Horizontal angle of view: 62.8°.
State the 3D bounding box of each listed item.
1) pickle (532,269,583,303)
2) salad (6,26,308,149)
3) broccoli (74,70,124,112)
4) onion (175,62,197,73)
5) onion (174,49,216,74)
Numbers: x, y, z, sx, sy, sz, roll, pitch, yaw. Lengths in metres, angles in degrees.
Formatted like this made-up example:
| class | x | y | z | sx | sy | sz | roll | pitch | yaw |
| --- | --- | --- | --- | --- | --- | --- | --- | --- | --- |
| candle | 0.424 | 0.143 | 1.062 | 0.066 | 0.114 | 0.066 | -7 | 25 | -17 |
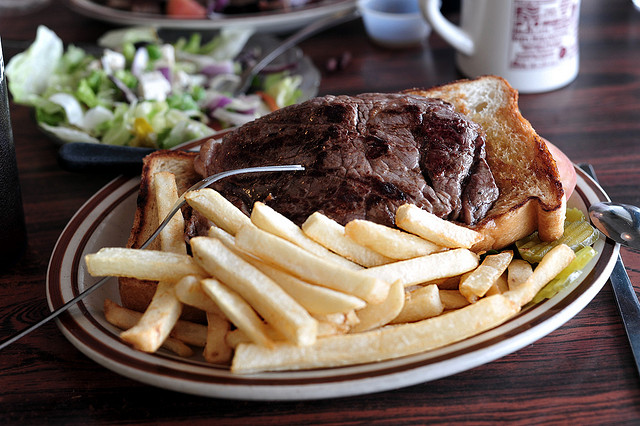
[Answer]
| class | x | y | z | sx | sy | sz | roll | pitch | yaw |
| --- | --- | --- | --- | --- | --- | --- | --- | --- | --- |
| pickle | 0.953 | 0.286 | 2.092 | 0.242 | 0.040 | 0.062 | -31 | 60 | -10 |
| salad | -1.139 | -0.851 | 3.793 | 1.550 | 0.261 | 1.452 | -2 | 32 | -2 |
| broccoli | -1.574 | -0.814 | 3.617 | 0.239 | 0.055 | 0.211 | -23 | 45 | 33 |
| onion | -1.025 | -1.120 | 4.016 | 0.174 | 0.040 | 0.106 | 0 | 40 | -38 |
| onion | -1.032 | -1.171 | 4.187 | 0.184 | 0.067 | 0.209 | -44 | 18 | -23 |
